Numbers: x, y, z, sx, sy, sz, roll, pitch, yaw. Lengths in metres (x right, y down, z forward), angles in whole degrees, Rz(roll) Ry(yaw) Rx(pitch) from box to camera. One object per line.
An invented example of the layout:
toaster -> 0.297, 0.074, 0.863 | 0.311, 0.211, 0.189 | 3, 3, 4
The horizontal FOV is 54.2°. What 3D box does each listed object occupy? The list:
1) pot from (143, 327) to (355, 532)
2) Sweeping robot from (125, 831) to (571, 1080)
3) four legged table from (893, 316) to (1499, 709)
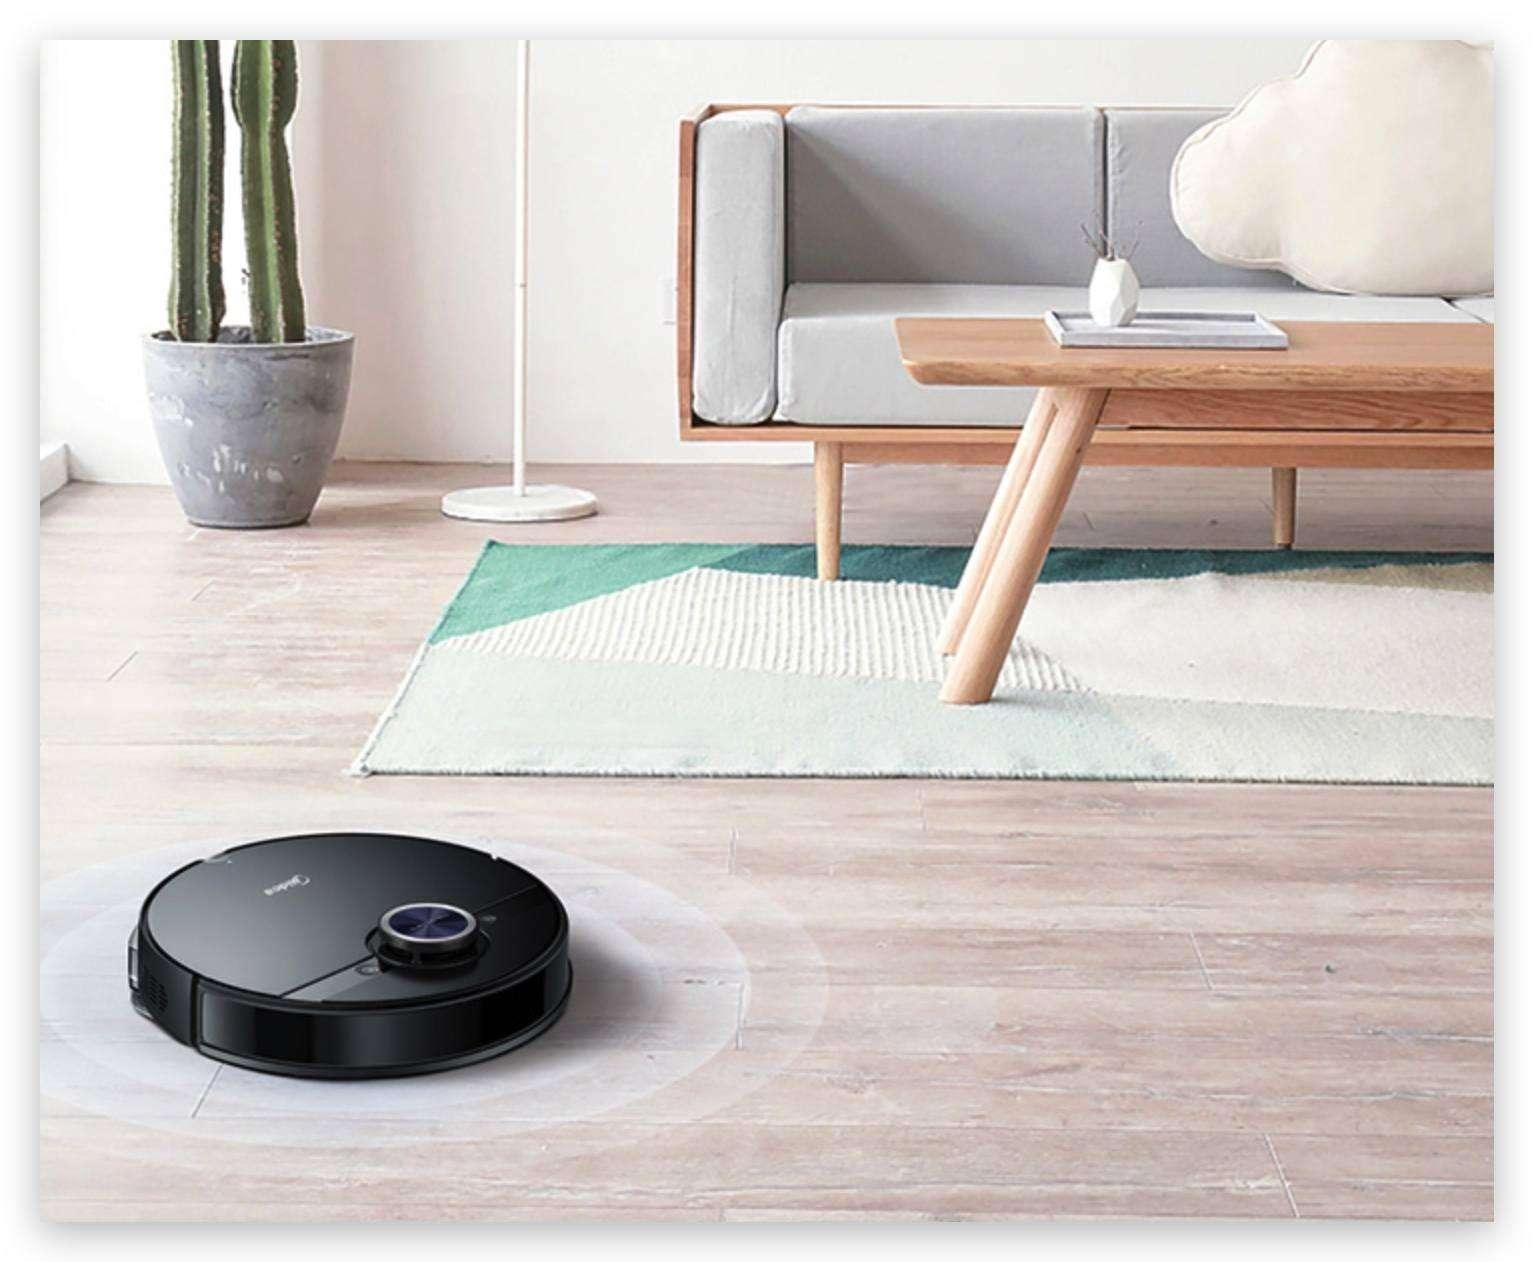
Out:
pot -> -0.978, -0.380, 2.995 | 0.450, 0.315, 0.441 | 4, 3, 0
Sweeping robot -> -0.356, 0.271, 1.296 | 0.374, 0.099, 0.280 | 2, 15, 3
four legged table -> 0.784, -0.123, 2.140 | 1.308, 0.457, 0.547 | -3, -6, -6
